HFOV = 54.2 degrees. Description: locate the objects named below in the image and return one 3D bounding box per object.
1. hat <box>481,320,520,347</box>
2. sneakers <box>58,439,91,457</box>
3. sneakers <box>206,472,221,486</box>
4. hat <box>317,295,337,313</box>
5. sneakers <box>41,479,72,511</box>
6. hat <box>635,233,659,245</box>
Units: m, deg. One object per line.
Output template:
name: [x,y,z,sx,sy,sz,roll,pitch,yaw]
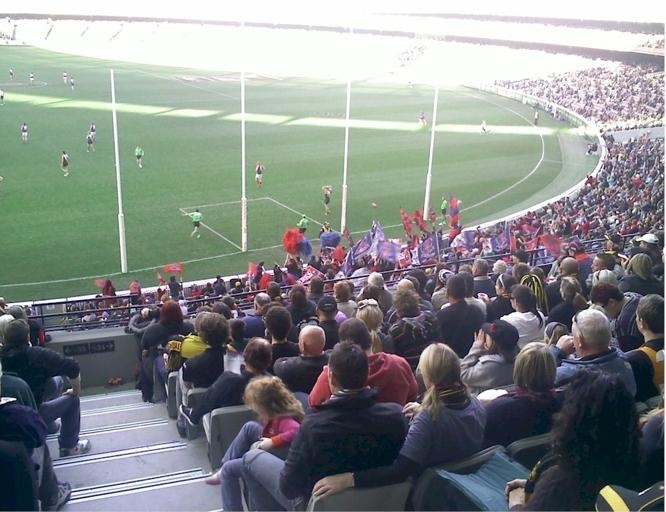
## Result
hat: [1.622,0.742,6.285,0.216,0.165,0.292,-26,49,-38]
sneakers: [-2.692,2.020,6.793,0.310,0.133,0.147,-14,-17,-10]
sneakers: [-1.104,2.068,6.024,0.172,0.085,0.137,-17,5,40]
hat: [-0.065,0.534,7.172,0.200,0.141,0.346,-2,6,7]
sneakers: [-2.511,2.172,5.881,0.102,0.142,0.326,7,13,0]
hat: [4.941,-0.273,10.205,0.172,0.105,0.274,2,11,-15]
